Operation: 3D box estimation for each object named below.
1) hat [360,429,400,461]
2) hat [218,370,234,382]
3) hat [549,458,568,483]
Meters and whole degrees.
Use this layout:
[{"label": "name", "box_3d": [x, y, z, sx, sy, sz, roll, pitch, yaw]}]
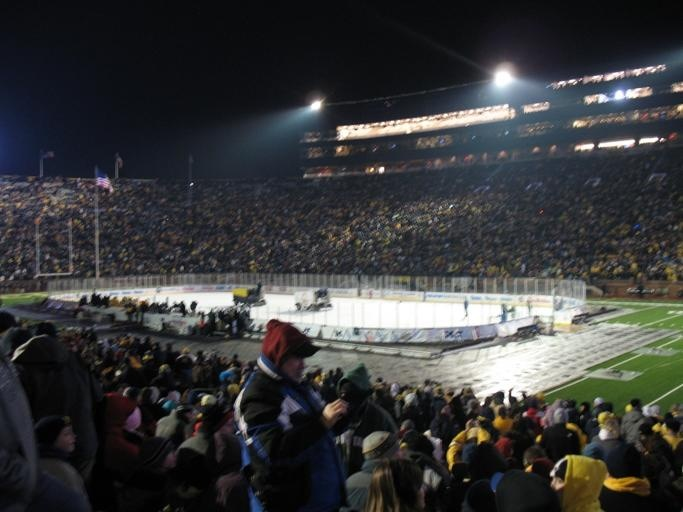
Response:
[{"label": "hat", "box_3d": [0.412, 2.040, 6.231, 0.366, 0.124, 0.272, -9, 19, 43]}, {"label": "hat", "box_3d": [-2.227, 2.321, 11.105, 0.240, 0.185, 0.431, -1, 0, -9]}, {"label": "hat", "box_3d": [2.262, 2.190, 5.967, 0.145, 0.253, 0.294, -2, 0, 18]}]
